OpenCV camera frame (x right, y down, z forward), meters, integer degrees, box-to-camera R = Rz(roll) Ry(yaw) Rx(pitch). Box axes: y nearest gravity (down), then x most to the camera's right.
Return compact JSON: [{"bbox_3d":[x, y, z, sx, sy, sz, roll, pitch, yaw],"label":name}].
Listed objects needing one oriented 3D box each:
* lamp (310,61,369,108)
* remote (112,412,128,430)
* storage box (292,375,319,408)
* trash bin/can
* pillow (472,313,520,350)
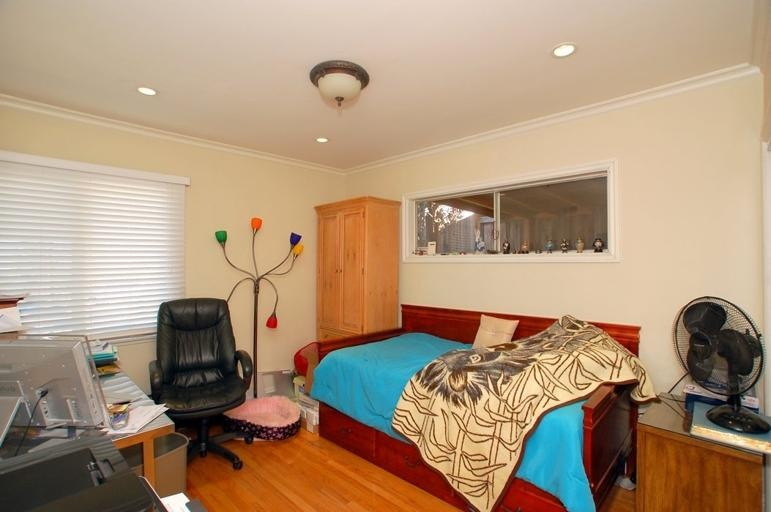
[{"bbox_3d":[-0.368,-1.295,3.950,0.436,0.222,0.420,6,-4,-1],"label":"lamp"},{"bbox_3d":[-1.714,1.048,3.170,0.090,0.060,0.087,-1,-1,-29],"label":"remote"},{"bbox_3d":[-0.813,1.370,5.019,0.264,0.281,0.429,4,-6,-34],"label":"storage box"},{"bbox_3d":[-1.608,1.467,3.539,0.510,0.314,0.381,-3,0,-29],"label":"trash bin/can"},{"bbox_3d":[1.046,0.712,4.701,0.090,0.309,0.342,31,-21,-32],"label":"pillow"}]
